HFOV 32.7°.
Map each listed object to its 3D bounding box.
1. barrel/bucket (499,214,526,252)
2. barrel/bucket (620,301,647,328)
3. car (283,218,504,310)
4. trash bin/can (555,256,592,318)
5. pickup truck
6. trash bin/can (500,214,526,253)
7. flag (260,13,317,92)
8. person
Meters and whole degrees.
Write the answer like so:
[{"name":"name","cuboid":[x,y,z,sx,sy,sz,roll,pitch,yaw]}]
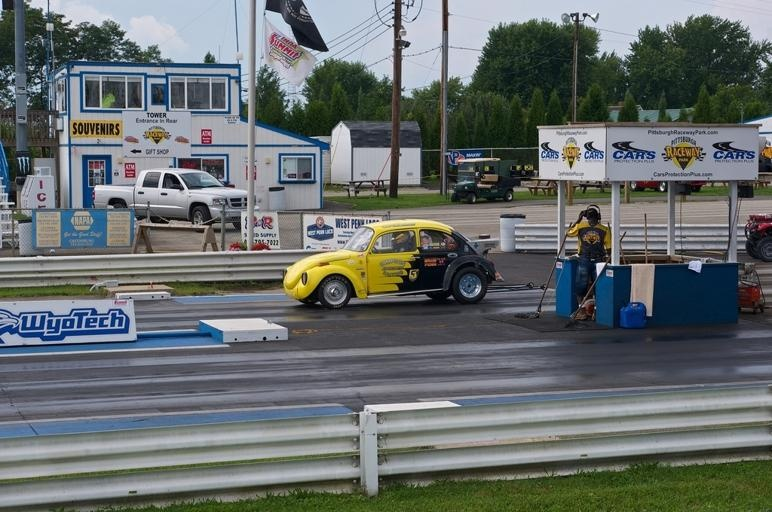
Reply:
[{"name":"barrel/bucket","cuboid":[4.336,-0.734,45.043,1.085,1.065,1.061,0,2,0]},{"name":"barrel/bucket","cuboid":[6.051,1.495,32.272,0.765,0.704,0.487,0,3,-11]},{"name":"car","cuboid":[0.147,0.125,37.195,5.927,2.215,2.362,0,1,-4]},{"name":"trash bin/can","cuboid":[4.747,0.799,33.273,0.910,1.507,0.819,1,1,1]},{"name":"pickup truck","cuboid":[-8.220,-2.215,50.946,6.327,2.125,1.800,5,12,27]},{"name":"trash bin/can","cuboid":[4.149,-0.804,44.965,1.244,1.198,1.180,0,5,-3]},{"name":"flag","cuboid":[-2.967,-6.107,40.108,1.454,1.874,0.913,0,10,2]},{"name":"person","cuboid":[5.295,0.175,33.013,1.175,2.846,1.350,1,1,4]}]
